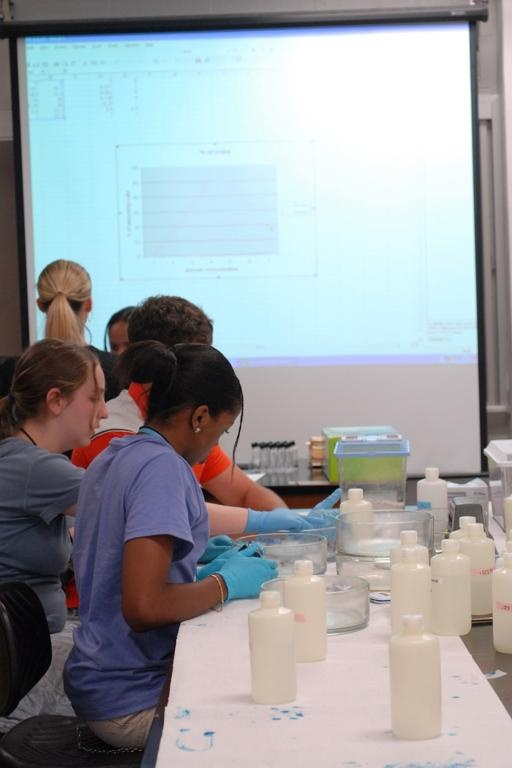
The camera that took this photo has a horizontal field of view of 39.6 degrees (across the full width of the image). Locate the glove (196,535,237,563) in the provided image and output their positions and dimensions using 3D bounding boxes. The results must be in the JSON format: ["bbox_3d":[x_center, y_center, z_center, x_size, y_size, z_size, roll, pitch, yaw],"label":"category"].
[{"bbox_3d":[-0.078,0.320,1.375,0.068,0.023,0.055,-15,6,7],"label":"glove"}]

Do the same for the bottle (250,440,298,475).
[{"bbox_3d":[0.065,0.287,3.009,0.225,0.149,0.115,0,0,2],"label":"bottle"}]

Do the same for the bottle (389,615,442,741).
[{"bbox_3d":[0.141,0.261,0.635,0.046,0.106,0.038,-3,2,9],"label":"bottle"}]

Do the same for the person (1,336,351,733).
[{"bbox_3d":[-0.204,0.185,1.529,0.593,0.971,0.451,-2,11,-32],"label":"person"}]
